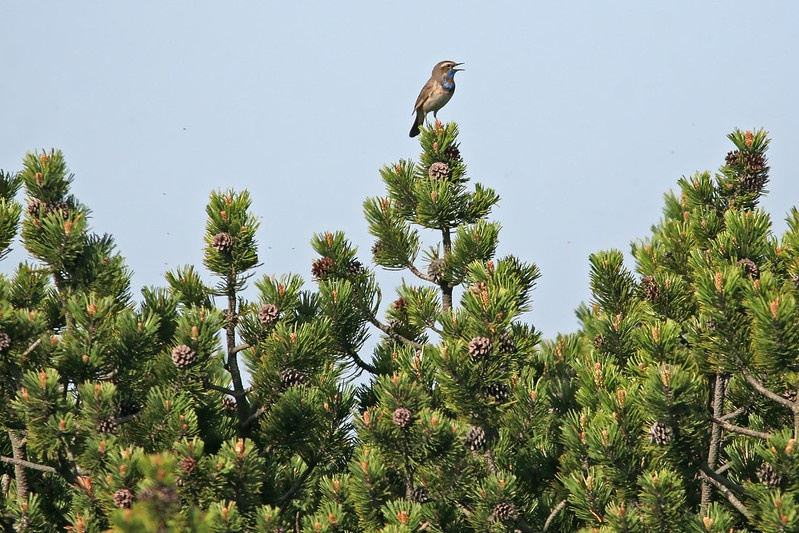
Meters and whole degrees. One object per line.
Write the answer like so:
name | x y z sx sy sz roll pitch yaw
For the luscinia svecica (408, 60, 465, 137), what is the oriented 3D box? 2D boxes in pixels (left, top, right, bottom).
luscinia svecica | 0.404 -1.920 18.973 0.779 0.793 0.344 -5 -4 42
